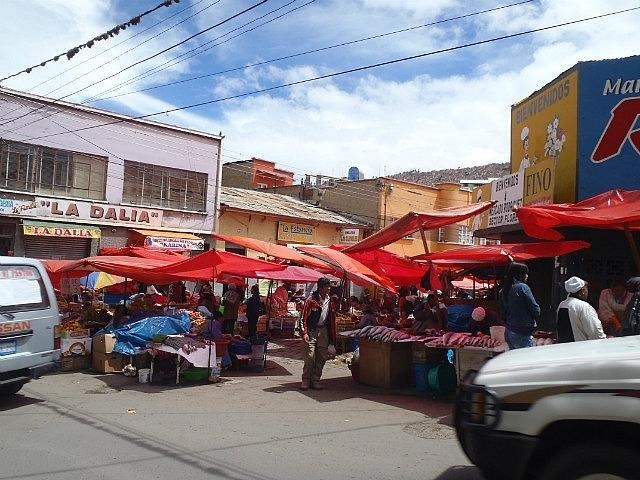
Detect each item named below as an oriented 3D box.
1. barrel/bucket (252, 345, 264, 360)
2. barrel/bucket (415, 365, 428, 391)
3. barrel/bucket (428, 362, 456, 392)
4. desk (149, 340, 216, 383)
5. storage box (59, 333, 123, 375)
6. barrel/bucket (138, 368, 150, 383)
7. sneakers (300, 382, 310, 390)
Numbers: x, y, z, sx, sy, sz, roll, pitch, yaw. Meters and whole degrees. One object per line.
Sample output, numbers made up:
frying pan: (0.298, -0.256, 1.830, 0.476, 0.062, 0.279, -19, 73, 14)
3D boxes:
barrel/bucket: (-1.401, 2.552, 12.581, 0.366, 0.309, 0.288, 1, -9, -1)
barrel/bucket: (1.933, 2.581, 10.404, 0.238, 0.524, 0.257, -1, -7, 0)
barrel/bucket: (2.245, 2.551, 10.224, 0.453, 0.545, 0.325, 2, -7, -20)
desk: (-2.732, 2.330, 11.155, 1.354, 0.570, 1.003, -4, -15, 37)
storage box: (-4.933, 2.471, 11.883, 1.108, 0.555, 1.096, 0, 1, -43)
barrel/bucket: (-3.483, 2.690, 10.945, 0.279, 0.184, 0.272, 1, -2, 0)
sneakers: (-0.297, 2.787, 10.553, 0.181, 0.136, 0.254, -1, -6, -1)
